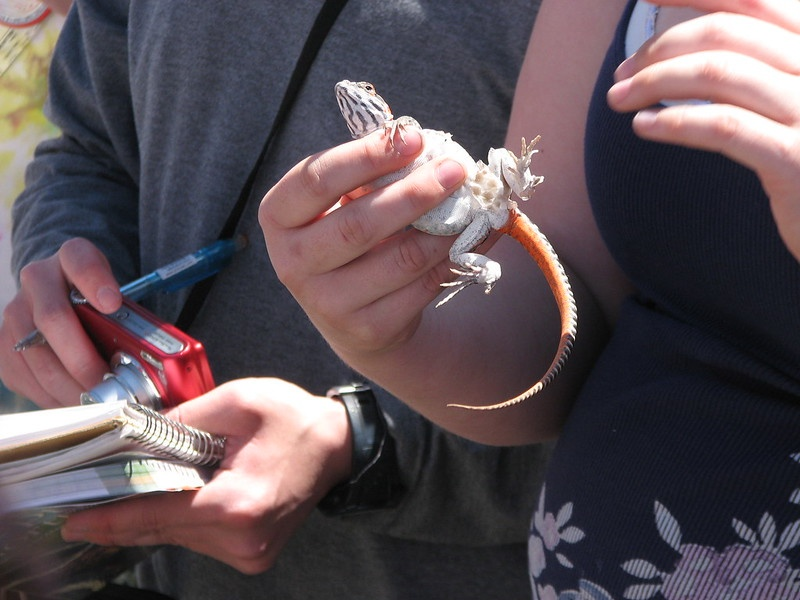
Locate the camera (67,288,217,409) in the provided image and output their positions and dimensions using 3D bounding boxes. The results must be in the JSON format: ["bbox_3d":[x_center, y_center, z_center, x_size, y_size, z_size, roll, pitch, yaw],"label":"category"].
[{"bbox_3d":[-0.495,0.092,1.429,0.222,0.111,0.320,-17,25,-39],"label":"camera"}]

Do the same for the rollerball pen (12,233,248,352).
[{"bbox_3d":[-0.539,-0.012,1.539,0.403,0.082,0.070,-28,93,-15],"label":"rollerball pen"}]

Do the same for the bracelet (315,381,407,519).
[{"bbox_3d":[-0.068,0.311,1.478,0.115,0.230,0.154,-22,32,-36],"label":"bracelet"}]

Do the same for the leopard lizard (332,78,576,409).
[{"bbox_3d":[0.089,-0.159,1.206,0.461,0.084,0.436,28,97,8],"label":"leopard lizard"}]
